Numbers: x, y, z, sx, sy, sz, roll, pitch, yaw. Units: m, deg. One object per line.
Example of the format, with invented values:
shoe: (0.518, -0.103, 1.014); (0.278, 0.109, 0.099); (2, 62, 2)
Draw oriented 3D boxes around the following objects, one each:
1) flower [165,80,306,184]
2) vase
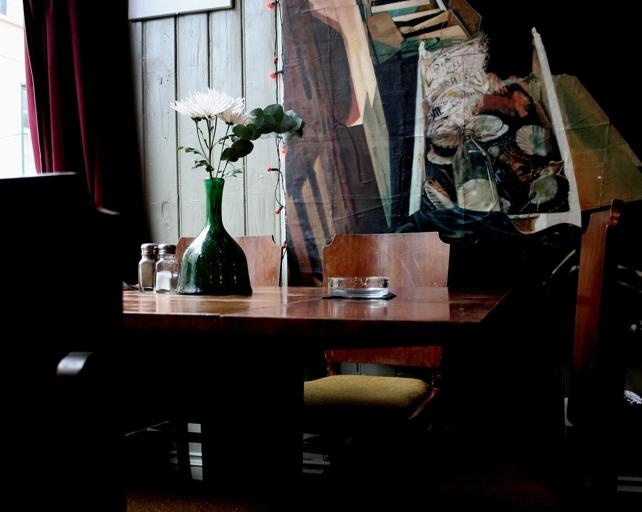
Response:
flower: (-0.240, -0.327, 1.818); (0.218, 0.121, 0.140); (21, 1, -16)
vase: (-0.289, -0.046, 1.852); (0.204, 0.310, 0.202); (2, 3, 18)
